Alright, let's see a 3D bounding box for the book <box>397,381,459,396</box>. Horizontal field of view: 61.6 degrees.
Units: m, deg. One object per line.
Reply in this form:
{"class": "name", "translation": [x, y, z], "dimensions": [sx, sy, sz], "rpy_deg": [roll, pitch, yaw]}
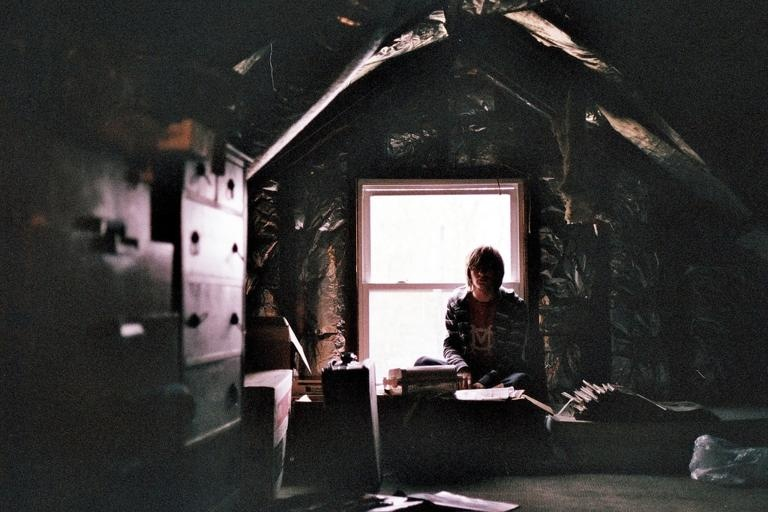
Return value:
{"class": "book", "translation": [0.247, 0.749, 3.649], "dimensions": [0.297, 0.075, 0.071], "rpy_deg": [1, -9, -9]}

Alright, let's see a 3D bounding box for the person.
{"class": "person", "translation": [0.602, 0.357, 3.851], "dimensions": [0.496, 0.828, 0.184], "rpy_deg": [-1, -9, 5]}

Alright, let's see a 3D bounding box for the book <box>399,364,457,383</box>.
{"class": "book", "translation": [0.243, 0.672, 3.645], "dimensions": [0.319, 0.099, 0.035], "rpy_deg": [1, -9, -6]}
